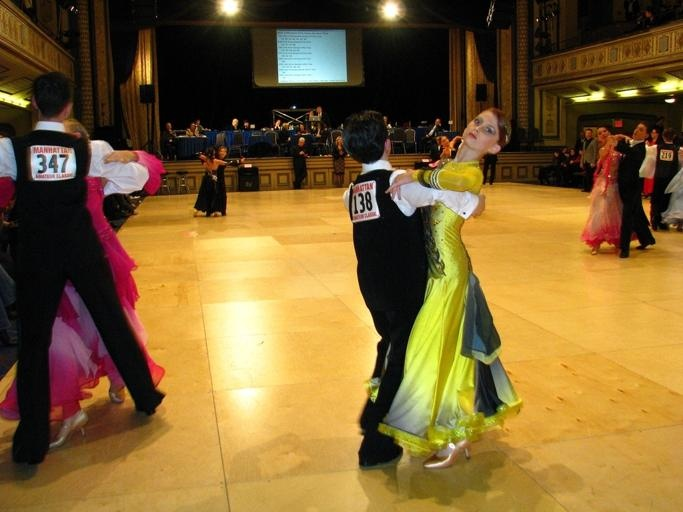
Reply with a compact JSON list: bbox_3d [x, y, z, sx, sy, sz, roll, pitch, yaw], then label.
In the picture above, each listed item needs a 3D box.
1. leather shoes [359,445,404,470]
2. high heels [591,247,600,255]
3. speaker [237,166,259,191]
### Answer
[{"bbox_3d":[0.180,0.936,2.325,0.144,0.120,0.106,1,-5,4],"label":"leather shoes"},{"bbox_3d":[3.638,-0.068,7.027,0.123,0.128,0.097,-2,-11,41],"label":"high heels"},{"bbox_3d":[-3.353,-2.784,17.767,0.913,0.946,0.778,4,20,6],"label":"speaker"}]
